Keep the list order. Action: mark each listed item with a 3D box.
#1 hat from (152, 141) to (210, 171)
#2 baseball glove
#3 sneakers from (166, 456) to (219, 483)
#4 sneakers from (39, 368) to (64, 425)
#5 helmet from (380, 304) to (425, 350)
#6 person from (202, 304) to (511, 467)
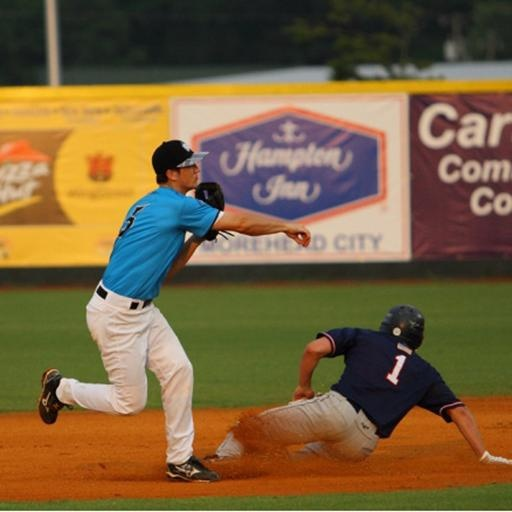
[{"bbox_3d":[-0.696,-0.938,13.022,0.458,0.211,0.271,-19,14,6],"label":"hat"},{"bbox_3d":[-0.431,-0.419,13.214,0.220,0.518,0.398,-23,8,-32],"label":"baseball glove"},{"bbox_3d":[-0.574,1.941,12.859,0.532,0.208,0.191,1,-3,5],"label":"sneakers"},{"bbox_3d":[-1.960,1.301,13.198,0.263,0.513,0.210,17,20,33],"label":"sneakers"},{"bbox_3d":[1.435,0.654,13.130,0.354,0.324,0.459,29,12,30],"label":"helmet"},{"bbox_3d":[0.947,1.299,12.809,2.139,0.885,1.491,-17,35,-24],"label":"person"}]
